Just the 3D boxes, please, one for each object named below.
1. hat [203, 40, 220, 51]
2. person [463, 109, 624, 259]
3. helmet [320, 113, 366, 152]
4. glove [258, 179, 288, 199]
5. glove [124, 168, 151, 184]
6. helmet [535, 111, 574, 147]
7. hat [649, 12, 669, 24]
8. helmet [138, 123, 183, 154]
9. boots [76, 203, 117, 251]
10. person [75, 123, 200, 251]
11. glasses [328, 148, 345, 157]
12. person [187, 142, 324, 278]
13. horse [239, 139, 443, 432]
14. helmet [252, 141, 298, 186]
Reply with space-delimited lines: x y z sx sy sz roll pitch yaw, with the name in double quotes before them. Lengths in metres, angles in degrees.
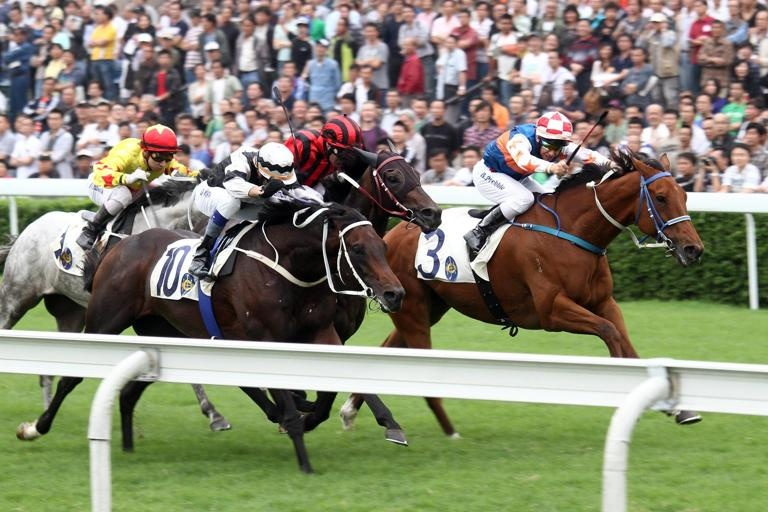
"hat" -1.835 -2.214 11.641 0.143 0.045 0.135 -2 3 15
"person" 1.001 -0.496 7.460 0.801 0.946 1.186 -13 15 -42
"helmet" -0.260 -0.782 6.997 0.252 0.238 0.303 -8 29 -29
"glove" -0.666 -0.400 6.534 0.153 0.078 0.073 -24 1 33
"glove" -1.691 -0.541 7.483 0.142 0.116 0.100 -1 15 1
"helmet" 1.111 -0.845 7.251 0.213 0.133 0.238 9 22 -12
"hat" 2.481 -2.150 9.947 0.151 0.078 0.114 1 14 9
"helmet" -1.543 -0.812 7.503 0.203 0.114 0.233 11 12 -34
"boots" -1.992 -0.207 7.540 0.263 0.288 0.098 10 -2 -10
"person" -1.702 -0.490 7.620 0.927 0.791 0.653 13 8 30
"glasses" -0.300 -0.658 6.917 0.062 0.033 0.075 -3 7 -28
"person" -0.837 -0.302 7.067 1.051 0.773 1.346 -5 5 -31
"horse" -0.032 0.025 7.678 0.621 1.391 2.339 -25 7 -21
"helmet" -0.640 -0.556 6.593 0.214 0.238 0.292 -8 16 -26
